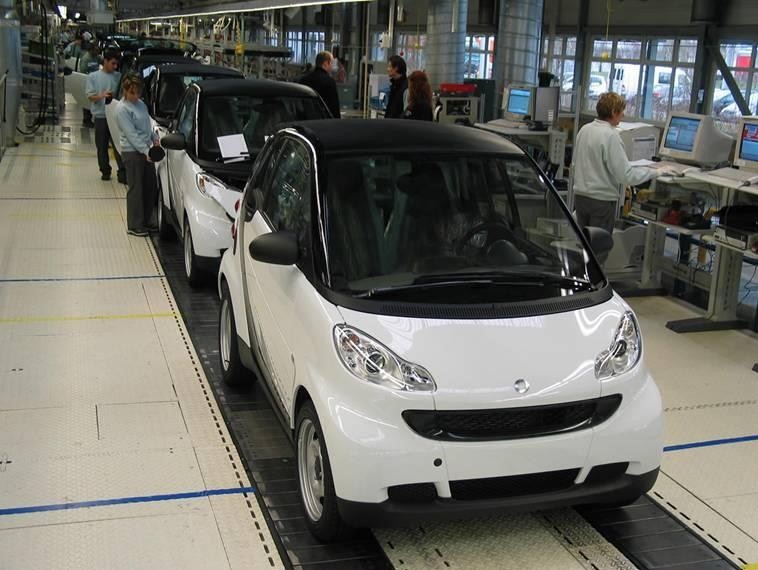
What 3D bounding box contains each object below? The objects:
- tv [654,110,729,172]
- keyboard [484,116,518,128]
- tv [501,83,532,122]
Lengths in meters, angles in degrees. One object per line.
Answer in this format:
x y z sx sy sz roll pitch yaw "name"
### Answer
4.097 -1.826 7.543 0.761 0.827 0.821 -9 20 -20 "tv"
2.592 -3.392 11.895 0.369 0.135 0.533 -15 32 -35 "keyboard"
2.888 -3.809 11.963 0.388 0.752 0.777 -10 27 -27 "tv"
